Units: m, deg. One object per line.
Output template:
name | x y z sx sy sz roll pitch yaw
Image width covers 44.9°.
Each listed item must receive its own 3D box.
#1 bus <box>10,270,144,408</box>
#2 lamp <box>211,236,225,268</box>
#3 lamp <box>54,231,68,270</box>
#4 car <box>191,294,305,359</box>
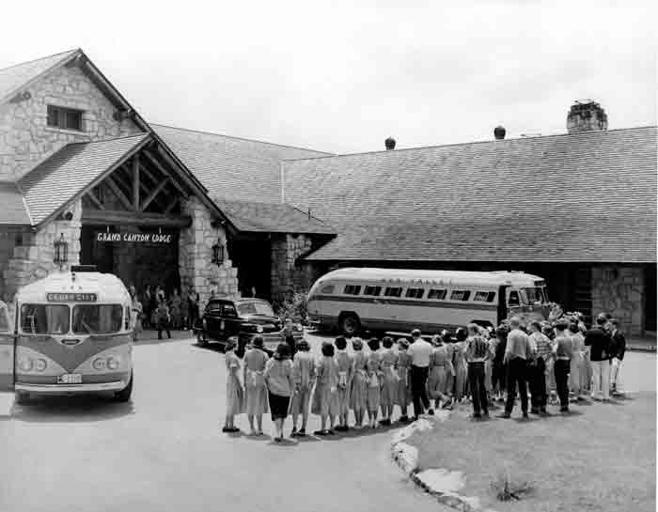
bus | -5.689 1.813 17.649 1.797 1.955 3.801 0 -6 -9
lamp | -4.336 -0.140 31.426 0.415 1.147 0.615 3 8 24
lamp | -8.902 -0.131 26.596 0.288 1.258 0.493 4 9 34
car | -2.815 2.163 25.789 1.760 1.275 2.878 3 -4 -38
